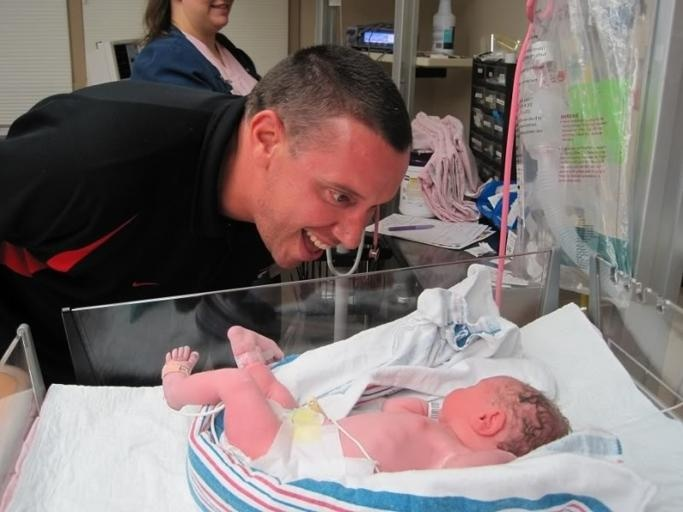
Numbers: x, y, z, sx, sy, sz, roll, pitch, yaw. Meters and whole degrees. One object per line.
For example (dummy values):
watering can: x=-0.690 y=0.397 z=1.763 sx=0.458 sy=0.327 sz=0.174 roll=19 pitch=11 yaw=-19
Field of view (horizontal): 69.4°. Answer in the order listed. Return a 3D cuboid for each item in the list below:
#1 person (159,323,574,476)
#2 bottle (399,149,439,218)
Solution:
person: x=0.032 y=0.345 z=1.019 sx=0.672 sy=0.217 sz=0.364 roll=0 pitch=0 yaw=-4
bottle: x=0.288 y=-0.315 z=2.029 sx=0.204 sy=0.267 sz=0.226 roll=4 pitch=17 yaw=9
